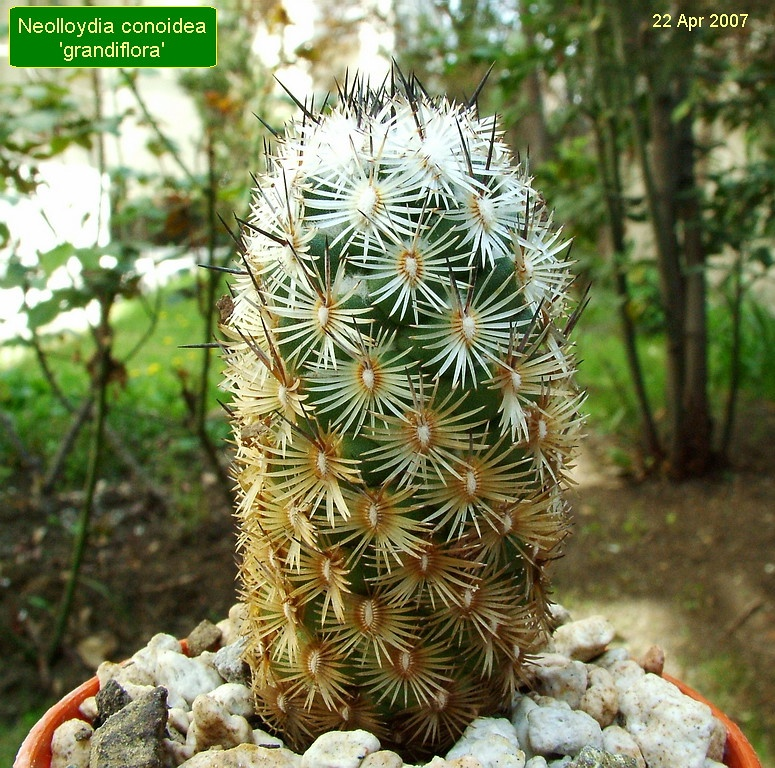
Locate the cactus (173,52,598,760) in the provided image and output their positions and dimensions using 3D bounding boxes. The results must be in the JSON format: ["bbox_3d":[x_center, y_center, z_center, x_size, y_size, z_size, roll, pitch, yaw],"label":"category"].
[{"bbox_3d":[0.013,0.062,1.605,0.729,1.138,0.526,-15,27,-16],"label":"cactus"}]
